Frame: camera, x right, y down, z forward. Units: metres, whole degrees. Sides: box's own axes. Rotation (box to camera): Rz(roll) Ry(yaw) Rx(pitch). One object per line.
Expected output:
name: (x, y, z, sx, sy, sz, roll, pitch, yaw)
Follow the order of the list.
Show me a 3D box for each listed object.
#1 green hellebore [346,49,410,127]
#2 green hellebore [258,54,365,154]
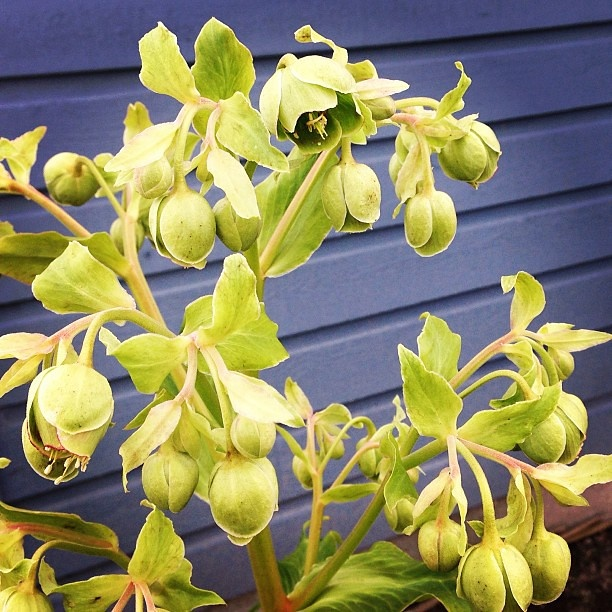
green hellebore: (0.061, -0.207, 0.739, 0.031, 0.067, 0.059, -11, 51, -28)
green hellebore: (0.004, -0.179, 0.695, 0.085, 0.067, 0.066, 5, -2, 16)
